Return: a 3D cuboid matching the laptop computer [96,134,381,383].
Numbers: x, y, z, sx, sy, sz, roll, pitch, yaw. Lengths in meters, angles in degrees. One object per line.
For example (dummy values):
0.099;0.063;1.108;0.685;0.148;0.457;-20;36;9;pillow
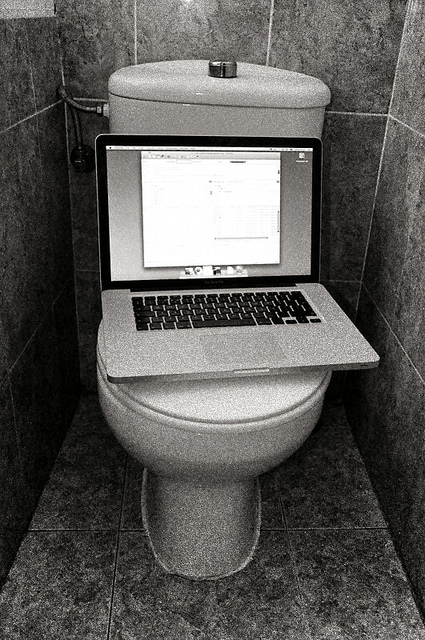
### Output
0.024;-0.140;0.793;0.416;0.340;0.389;-10;15;-25;laptop computer
